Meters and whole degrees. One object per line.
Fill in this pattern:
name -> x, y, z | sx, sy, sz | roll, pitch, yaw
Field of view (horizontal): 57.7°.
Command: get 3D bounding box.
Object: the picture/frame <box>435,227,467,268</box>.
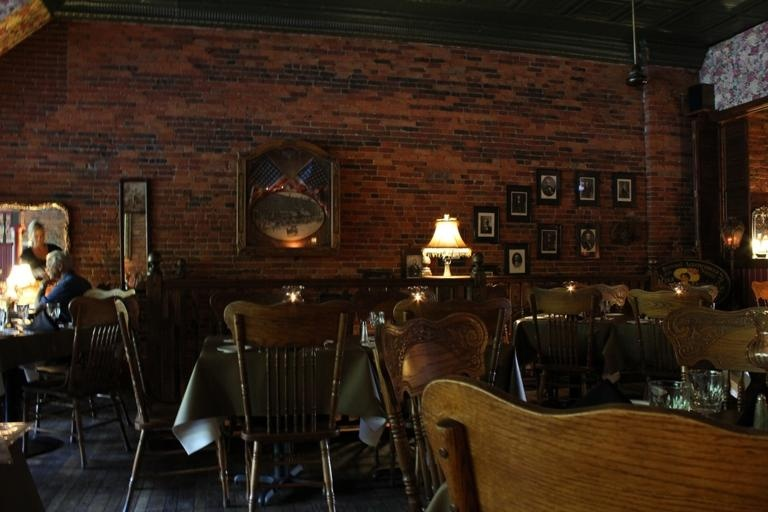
picture/frame -> 0.793, -0.166, 8.153 | 0.371, 0.387, 0.206 | -2, -3, 6

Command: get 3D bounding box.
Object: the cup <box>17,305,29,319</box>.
cup -> -3.453, 0.530, 6.669 | 0.113, 0.182, 0.115 | 0, -6, 0

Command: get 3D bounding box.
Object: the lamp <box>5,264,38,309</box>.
lamp -> -3.798, 0.328, 7.309 | 0.386, 0.541, 0.366 | 0, 10, -25

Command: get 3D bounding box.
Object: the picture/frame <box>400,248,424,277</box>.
picture/frame -> 0.334, 0.065, 8.691 | 0.279, 0.353, 0.125 | -2, -3, 0

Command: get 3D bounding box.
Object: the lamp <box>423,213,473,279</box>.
lamp -> 0.738, -0.108, 8.426 | 0.714, 0.804, 0.697 | 0, -5, 3

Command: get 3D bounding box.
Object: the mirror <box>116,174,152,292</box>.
mirror -> -2.919, -0.285, 8.151 | 0.361, 1.284, 0.157 | -1, -3, -14
